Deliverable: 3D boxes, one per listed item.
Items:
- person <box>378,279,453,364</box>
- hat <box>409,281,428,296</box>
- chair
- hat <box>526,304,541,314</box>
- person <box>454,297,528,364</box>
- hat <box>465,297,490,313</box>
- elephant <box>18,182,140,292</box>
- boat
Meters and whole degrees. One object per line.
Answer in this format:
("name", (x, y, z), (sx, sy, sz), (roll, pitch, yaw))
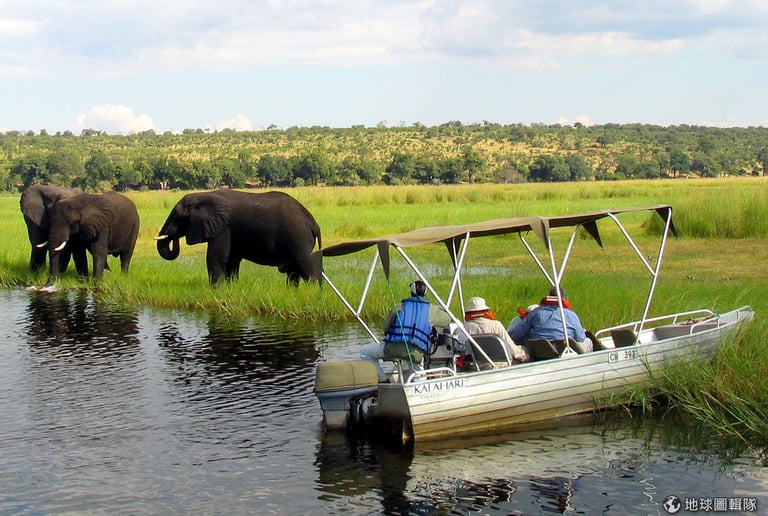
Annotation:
("person", (0.524, 1.109, 16.557), (1.113, 1.316, 0.338), (-2, 1, 0))
("hat", (0.596, 0.529, 16.561), (0.230, 0.253, 0.199), (8, -46, -6))
("chair", (2.925, 1.582, 17.287), (2.241, 0.554, 1.224), (-8, -1, -13))
("hat", (2.707, 0.921, 17.698), (0.196, 0.073, 0.172), (-43, -17, 32))
("person", (1.971, 1.358, 17.764), (1.022, 1.014, 0.547), (-7, 32, 28))
("hat", (1.785, 0.869, 18.228), (0.402, 0.180, 0.393), (0, -2, 5))
("elephant", (-8.428, -0.628, 27.814), (2.723, 2.777, 2.071), (-2, 0, -35))
("boat", (3.992, 0.770, 19.440), (11.842, 4.698, 3.373), (-7, 9, -23))
